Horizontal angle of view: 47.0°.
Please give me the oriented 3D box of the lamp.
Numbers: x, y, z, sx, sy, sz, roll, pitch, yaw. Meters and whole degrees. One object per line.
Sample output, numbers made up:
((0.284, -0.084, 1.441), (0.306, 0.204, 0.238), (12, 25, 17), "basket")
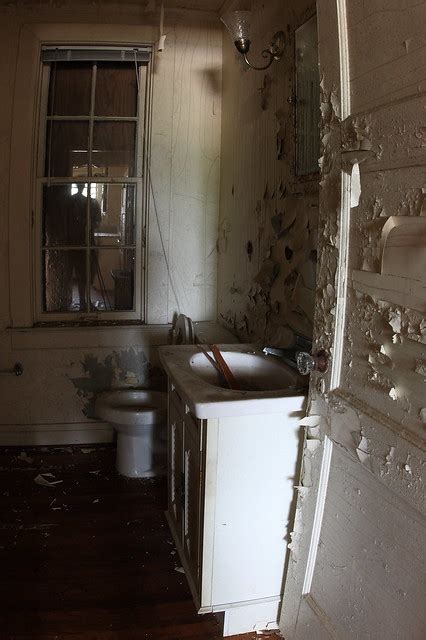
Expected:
((0.133, -0.983, 1.775), (0.209, 0.216, 0.119), (6, -16, -7), "lamp")

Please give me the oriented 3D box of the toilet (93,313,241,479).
((-0.269, 0.383, 2.920), (0.821, 1.181, 0.587), (3, 8, -15), "toilet")
